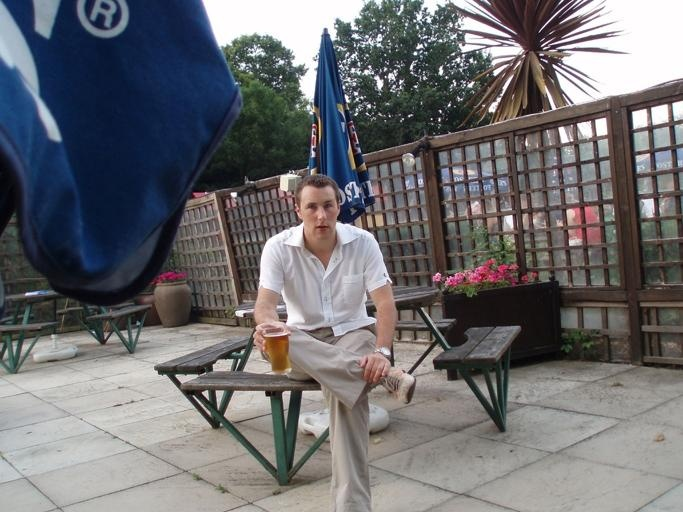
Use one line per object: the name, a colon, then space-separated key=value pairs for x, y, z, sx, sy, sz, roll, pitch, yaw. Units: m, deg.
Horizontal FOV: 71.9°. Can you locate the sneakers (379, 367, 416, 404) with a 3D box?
sneakers: x=0.277 y=0.611 z=2.299 sx=0.106 sy=0.096 sz=0.224 roll=3 pitch=15 yaw=-25

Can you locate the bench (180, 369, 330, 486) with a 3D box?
bench: x=-0.511 y=1.020 z=2.924 sx=0.893 sy=0.483 sz=0.717 roll=1 pitch=-1 yaw=19

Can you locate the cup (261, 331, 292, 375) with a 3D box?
cup: x=-0.299 y=0.449 z=2.239 sx=0.113 sy=0.200 sz=0.176 roll=-6 pitch=2 yaw=-10

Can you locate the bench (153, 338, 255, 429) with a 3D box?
bench: x=-1.175 y=1.130 z=4.114 sx=0.382 sy=0.257 sz=1.116 roll=12 pitch=4 yaw=3
